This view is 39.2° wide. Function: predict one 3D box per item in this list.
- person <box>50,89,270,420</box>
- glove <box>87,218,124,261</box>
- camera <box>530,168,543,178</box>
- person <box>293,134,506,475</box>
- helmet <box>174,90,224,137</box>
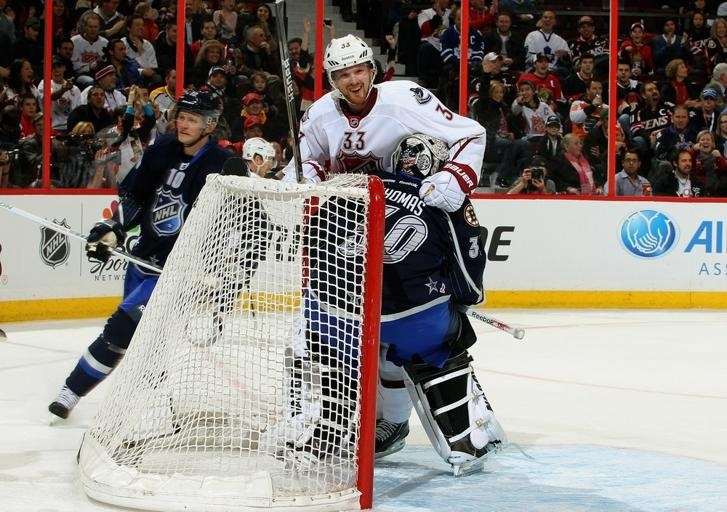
[{"bbox_3d":[-1.274,0.007,6.021,1.100,1.960,0.501,-2,13,-14],"label":"person"},{"bbox_3d":[-1.512,-0.099,6.038,0.190,0.249,0.129,24,-11,44],"label":"glove"},{"bbox_3d":[1.610,-0.761,9.584,0.131,0.110,0.089,1,-6,-9],"label":"camera"},{"bbox_3d":[0.184,0.270,5.396,1.068,1.799,0.598,-5,14,-26],"label":"person"},{"bbox_3d":[-0.977,-0.853,6.061,0.288,0.244,0.214,15,-4,-42],"label":"helmet"}]
